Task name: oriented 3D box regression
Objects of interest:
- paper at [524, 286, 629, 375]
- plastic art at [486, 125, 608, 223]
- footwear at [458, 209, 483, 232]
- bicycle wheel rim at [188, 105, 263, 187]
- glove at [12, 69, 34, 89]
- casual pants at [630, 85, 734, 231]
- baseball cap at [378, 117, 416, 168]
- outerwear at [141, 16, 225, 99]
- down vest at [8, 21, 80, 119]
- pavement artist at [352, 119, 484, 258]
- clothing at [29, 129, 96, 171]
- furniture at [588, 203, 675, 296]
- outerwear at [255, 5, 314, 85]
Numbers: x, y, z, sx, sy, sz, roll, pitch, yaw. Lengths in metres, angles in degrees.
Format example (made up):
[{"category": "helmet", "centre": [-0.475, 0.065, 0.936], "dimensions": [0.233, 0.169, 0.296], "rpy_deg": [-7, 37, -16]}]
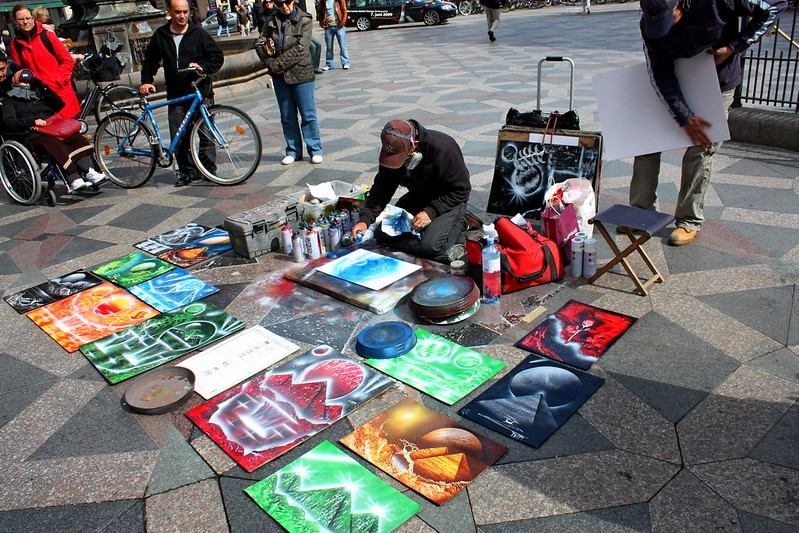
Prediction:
[{"category": "paper", "centre": [1.408, 0.508, 4.285], "dimensions": [0.853, 0.011, 0.586], "rpy_deg": [-29, 35, -35]}, {"category": "plastic art", "centre": [1.699, -0.961, 5.897], "dimensions": [0.429, 0.983, 1.261], "rpy_deg": [-16, 25, -37]}, {"category": "footwear", "centre": [0.713, -0.482, 5.618], "dimensions": [0.251, 0.088, 0.194], "rpy_deg": [16, 0, 40]}, {"category": "bicycle wheel rim", "centre": [-2.405, -1.650, 7.473], "dimensions": [1.261, 1.065, 0.197], "rpy_deg": [4, 16, 20]}, {"category": "glove", "centre": [-4.998, -2.471, 7.141], "dimensions": [0.279, 0.198, 0.199], "rpy_deg": [0, 21, 42]}, {"category": "casual pants", "centre": [2.578, -1.184, 5.191], "dimensions": [0.795, 1.565, 0.429], "rpy_deg": [22, 38, 26]}, {"category": "baseball cap", "centre": [-0.025, -1.116, 4.995], "dimensions": [0.327, 0.236, 0.451], "rpy_deg": [13, 75, 24]}, {"category": "outerwear", "centre": [-3.002, -2.779, 7.358], "dimensions": [1.131, 1.010, 0.664], "rpy_deg": [-10, 29, -6]}, {"category": "down vest", "centre": [-5.216, -2.830, 7.980], "dimensions": [0.783, 1.212, 0.378], "rpy_deg": [-7, 23, 4]}, {"category": "pavement artist", "centre": [0.135, -0.761, 5.253], "dimensions": [1.075, 1.325, 0.691], "rpy_deg": [-3, 30, 6]}, {"category": "clothing", "centre": [-4.456, -1.560, 7.131], "dimensions": [0.759, 0.217, 0.415], "rpy_deg": [34, 54, -5]}, {"category": "furniture", "centre": [2.032, -0.162, 4.760], "dimensions": [0.758, 0.533, 0.722], "rpy_deg": [-8, 20, -14]}, {"category": "outerwear", "centre": [-1.608, -3.069, 7.597], "dimensions": [0.853, 0.972, 0.491], "rpy_deg": [-10, 30, -5]}]
